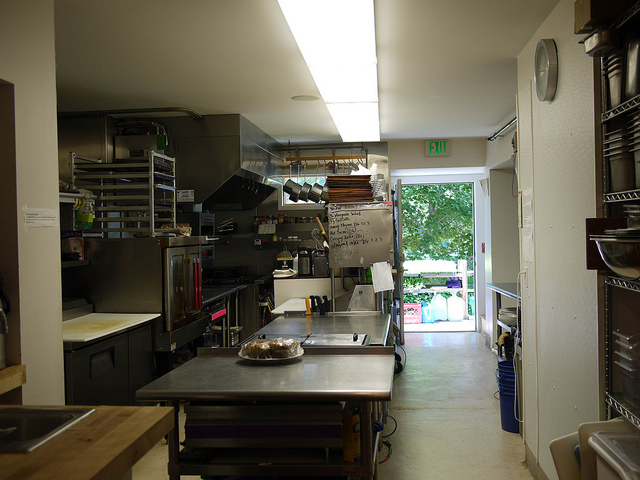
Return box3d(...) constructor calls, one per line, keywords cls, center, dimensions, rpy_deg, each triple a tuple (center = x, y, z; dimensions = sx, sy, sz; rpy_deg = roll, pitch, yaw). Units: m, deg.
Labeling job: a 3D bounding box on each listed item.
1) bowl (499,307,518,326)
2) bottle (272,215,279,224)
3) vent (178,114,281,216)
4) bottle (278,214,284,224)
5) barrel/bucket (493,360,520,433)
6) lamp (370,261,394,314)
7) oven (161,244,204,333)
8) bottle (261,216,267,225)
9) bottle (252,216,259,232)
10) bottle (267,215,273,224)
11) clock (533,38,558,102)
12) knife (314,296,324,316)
box3d(cls="bowl", center=(1.750, 0.701, 4.596), dimensions=(0.131, 0.068, 0.136), rpy_deg=(-1, 3, 0))
box3d(cls="bottle", center=(-0.637, -0.293, 7.045), dimensions=(0.093, 0.183, 0.096), rpy_deg=(1, -2, 0))
box3d(cls="vent", center=(-1.116, -0.913, 6.388), dimensions=(1.032, 1.055, 1.862), rpy_deg=(-1, 3, 4))
box3d(cls="bottle", center=(-0.549, -0.302, 7.109), dimensions=(0.085, 0.170, 0.089), rpy_deg=(1, -1, 0))
box3d(cls="barrel/bucket", center=(1.566, 1.303, 4.125), dimensions=(0.164, 0.601, 0.227), rpy_deg=(0, 3, 22))
box3d(cls="lamp", center=(0.538, 0.321, 4.342), dimensions=(0.195, 0.284, 0.199), rpy_deg=(-1, 3, -2))
box3d(cls="oven", center=(-1.345, 0.412, 4.505), dimensions=(0.421, 0.717, 0.800), rpy_deg=(-1, 1, 5))
box3d(cls="bottle", center=(-0.797, -0.293, 7.052), dimensions=(0.095, 0.104, 0.092), rpy_deg=(2, 10, 7))
box3d(cls="bottle", center=(-0.899, -0.227, 7.078), dimensions=(0.124, 0.230, 0.082), rpy_deg=(2, 4, 38))
box3d(cls="bottle", center=(-0.699, -0.301, 7.027), dimensions=(0.082, 0.161, 0.085), rpy_deg=(1, -5, 0))
box3d(cls="clock", center=(1.438, -1.075, 3.169), dimensions=(0.093, 0.412, 0.283), rpy_deg=(0, 3, 15))
box3d(cls="knife", center=(0.007, 0.557, 4.287), dimensions=(0.036, 0.158, 0.112), rpy_deg=(-11, -8, 8))
